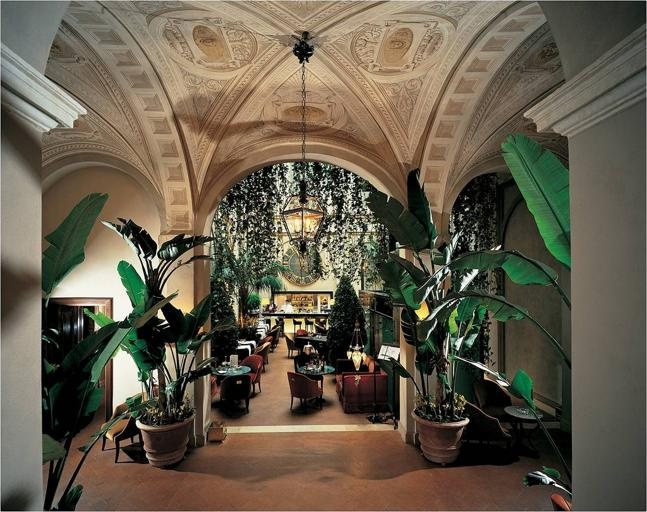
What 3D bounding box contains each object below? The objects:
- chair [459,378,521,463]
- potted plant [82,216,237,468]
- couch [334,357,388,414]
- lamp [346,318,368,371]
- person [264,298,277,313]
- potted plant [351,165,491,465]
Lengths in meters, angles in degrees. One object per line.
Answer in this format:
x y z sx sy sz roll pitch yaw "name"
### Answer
2.787 2.544 7.022 0.706 0.790 0.729 -4 14 10 "chair"
-2.132 1.194 5.758 1.256 3.373 2.869 0 -1 -15 "potted plant"
0.790 2.566 8.194 0.698 0.664 1.406 1 -6 1 "couch"
0.667 1.696 8.221 0.375 0.874 0.374 1 -6 -6 "lamp"
-2.001 1.902 16.360 0.397 0.766 0.406 0 2 -25 "person"
1.697 1.062 5.981 1.764 3.421 1.847 -1 -14 23 "potted plant"
